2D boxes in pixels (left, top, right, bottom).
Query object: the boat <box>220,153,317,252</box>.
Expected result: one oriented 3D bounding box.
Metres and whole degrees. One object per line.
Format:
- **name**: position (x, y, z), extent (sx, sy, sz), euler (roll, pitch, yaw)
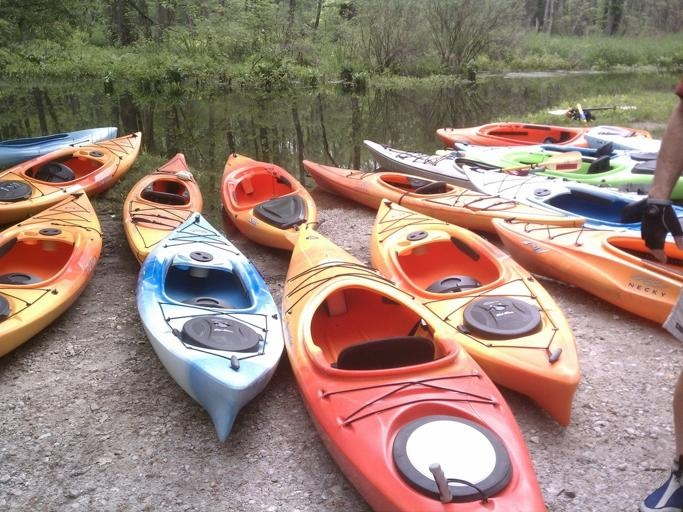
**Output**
- **boat**: position (-0.805, -0.559, 6.012), extent (0.809, 0.420, 1.443), euler (-24, 40, -23)
